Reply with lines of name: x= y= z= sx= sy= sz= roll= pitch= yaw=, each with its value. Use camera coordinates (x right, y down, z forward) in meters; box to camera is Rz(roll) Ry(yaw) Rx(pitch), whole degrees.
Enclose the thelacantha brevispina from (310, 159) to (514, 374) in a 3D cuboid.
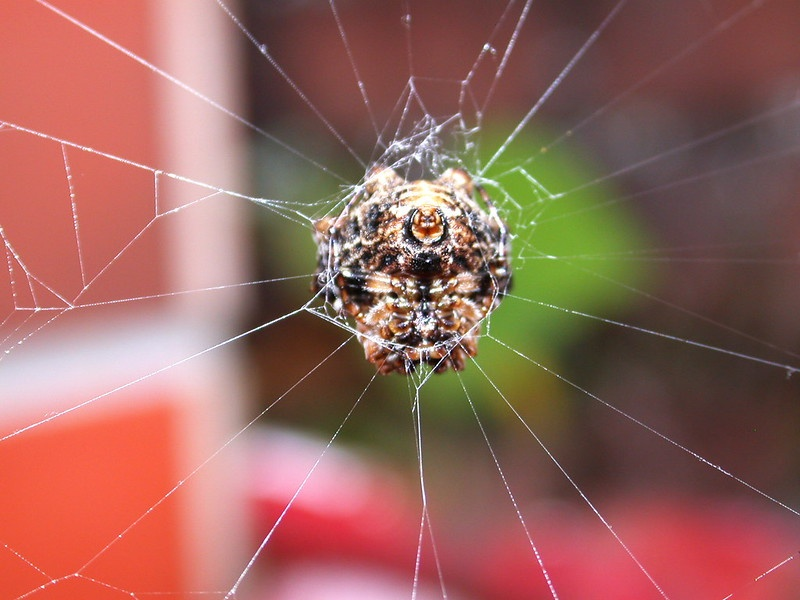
thelacantha brevispina: x=0.028 y=-0.046 z=1.369 sx=0.340 sy=0.164 sz=0.392 roll=2 pitch=-84 yaw=-6
